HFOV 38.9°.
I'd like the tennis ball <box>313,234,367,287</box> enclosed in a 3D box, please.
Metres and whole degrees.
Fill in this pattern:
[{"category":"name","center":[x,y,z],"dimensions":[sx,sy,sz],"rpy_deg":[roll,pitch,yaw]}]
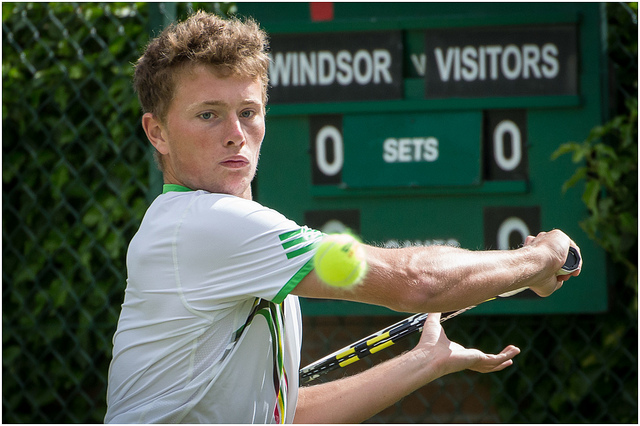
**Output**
[{"category":"tennis ball","center":[0.086,0.213,4.005],"dimensions":[0.237,0.206,0.095],"rpy_deg":[1,13,-1]}]

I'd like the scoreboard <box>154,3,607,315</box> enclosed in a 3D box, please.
[{"category":"scoreboard","center":[0.622,-0.342,5.225],"dimensions":[2.031,1.753,0.700],"rpy_deg":[0,13,-5]}]
